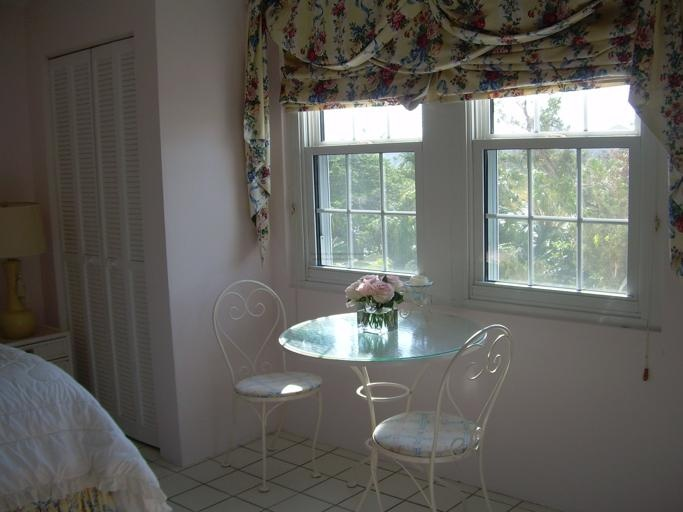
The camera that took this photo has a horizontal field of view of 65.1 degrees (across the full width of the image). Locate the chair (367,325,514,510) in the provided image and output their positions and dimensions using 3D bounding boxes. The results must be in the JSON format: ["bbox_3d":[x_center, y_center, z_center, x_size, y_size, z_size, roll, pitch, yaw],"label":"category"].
[{"bbox_3d":[0.508,0.810,2.734,0.673,1.107,0.783,2,9,26],"label":"chair"}]

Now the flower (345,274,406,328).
[{"bbox_3d":[0.172,0.230,2.707,0.254,0.280,0.271,-1,5,7],"label":"flower"}]

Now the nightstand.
[{"bbox_3d":[-2.029,0.603,3.570,0.256,0.406,0.384,7,9,42],"label":"nightstand"}]

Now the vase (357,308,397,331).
[{"bbox_3d":[0.190,0.303,2.731,0.127,0.087,0.128,0,0,44],"label":"vase"}]
